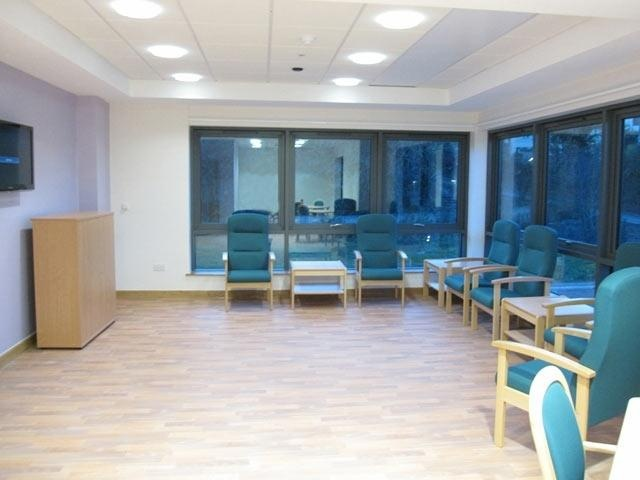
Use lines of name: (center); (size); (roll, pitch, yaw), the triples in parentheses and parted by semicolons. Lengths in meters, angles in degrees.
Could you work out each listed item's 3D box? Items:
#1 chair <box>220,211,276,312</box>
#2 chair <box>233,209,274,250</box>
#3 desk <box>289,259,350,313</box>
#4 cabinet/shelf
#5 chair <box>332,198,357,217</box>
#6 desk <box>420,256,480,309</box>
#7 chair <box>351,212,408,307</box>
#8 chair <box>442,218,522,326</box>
chair: (-1.152, 0.296, 7.502); (0.838, 1.445, 1.195); (-1, 12, -6)
chair: (-1.020, -0.158, 7.837); (0.688, 0.734, 0.668); (0, 3, -7)
desk: (-0.061, 0.710, 7.468); (0.897, 0.511, 0.592); (0, 2, -8)
cabinet/shelf: (-2.998, 0.502, 5.601); (0.750, 1.599, 1.913); (0, 1, -1)
chair: (0.396, -0.528, 8.231); (0.570, 0.424, 0.279); (0, -1, -7)
desk: (2.223, 0.669, 7.770); (0.968, 0.715, 0.858); (0, 1, -6)
chair: (1.016, 0.307, 7.696); (0.900, 1.422, 1.103); (1, 12, 3)
chair: (2.416, 0.448, 7.007); (1.080, 1.321, 0.986); (-7, 9, -19)
